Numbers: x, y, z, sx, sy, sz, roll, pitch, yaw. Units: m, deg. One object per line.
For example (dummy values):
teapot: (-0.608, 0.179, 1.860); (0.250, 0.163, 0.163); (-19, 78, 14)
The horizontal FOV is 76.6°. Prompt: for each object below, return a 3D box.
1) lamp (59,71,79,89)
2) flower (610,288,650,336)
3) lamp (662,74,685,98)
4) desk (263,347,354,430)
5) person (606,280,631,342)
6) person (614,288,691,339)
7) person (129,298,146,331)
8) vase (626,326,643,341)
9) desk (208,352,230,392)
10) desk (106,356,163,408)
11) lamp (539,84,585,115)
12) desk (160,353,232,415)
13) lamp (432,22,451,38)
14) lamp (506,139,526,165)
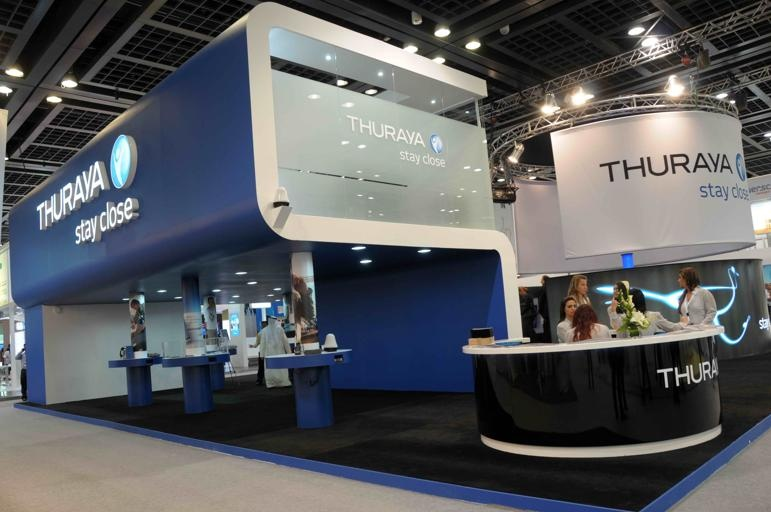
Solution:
lamp: (-6.850, -3.805, 10.583); (0.293, 0.343, 0.306); (-2, -9, 1)
flower: (2.941, 0.728, 5.779); (0.435, 0.629, 0.388); (-2, -6, -20)
lamp: (7.405, -4.401, 12.526); (0.410, 0.615, 0.222); (7, 35, 28)
desk: (-1.217, 2.210, 8.065); (1.318, 1.213, 1.373); (-5, -5, 3)
person: (3.232, 0.753, 6.773); (0.412, 0.364, 1.286); (3, 8, 29)
person: (3.945, 0.825, 7.160); (1.005, 0.528, 0.340); (-8, 18, -25)
person: (-6.057, 1.421, 11.932); (0.281, 0.792, 0.459); (-2, -6, -28)
vase: (2.864, 0.891, 5.603); (0.117, 0.121, 0.122); (-1, 2, 13)
desk: (-4.731, 3.240, 13.895); (0.627, 0.777, 0.642); (12, -12, -23)
desk: (-6.151, 3.116, 12.040); (1.030, 1.087, 1.184); (-8, -11, -9)
lamp: (4.674, -4.103, 12.905); (0.486, 0.767, 1.854); (-1, 12, 10)
desk: (-3.896, 2.580, 10.177); (1.189, 1.203, 1.151); (-6, -1, -38)
lamp: (1.193, -4.768, 10.300); (0.206, 0.137, 0.213); (-6, 4, -24)
lamp: (3.981, -3.257, 15.040); (0.205, 0.201, 0.775); (29, -24, 3)
